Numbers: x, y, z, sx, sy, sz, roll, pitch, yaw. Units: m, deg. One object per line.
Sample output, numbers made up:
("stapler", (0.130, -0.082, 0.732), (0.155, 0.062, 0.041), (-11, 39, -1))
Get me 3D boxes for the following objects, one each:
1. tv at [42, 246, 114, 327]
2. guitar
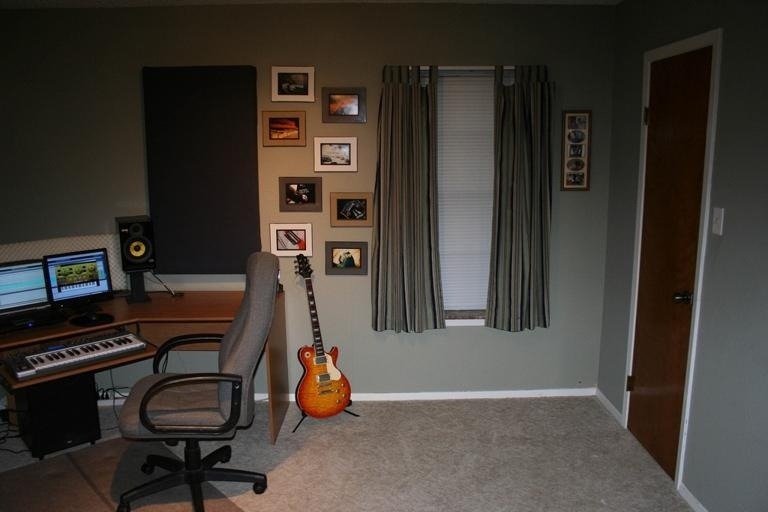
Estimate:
("tv", (-2.385, 0.258, 4.382), (0.406, 0.599, 0.511), (3, 9, 40))
("guitar", (-0.516, 0.674, 4.665), (0.423, 1.324, 0.398), (-2, 10, -4))
